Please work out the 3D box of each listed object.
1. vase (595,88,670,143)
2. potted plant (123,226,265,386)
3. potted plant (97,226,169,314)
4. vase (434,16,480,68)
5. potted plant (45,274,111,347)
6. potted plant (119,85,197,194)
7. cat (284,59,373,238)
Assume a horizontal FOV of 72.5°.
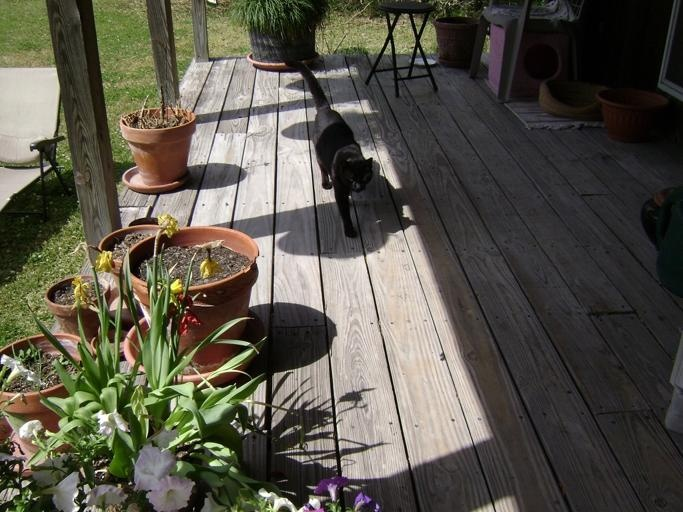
[{"bbox_3d":[2.160,-1.023,3.513,0.401,0.262,0.404,17,25,41],"label":"vase"},{"bbox_3d":[-0.541,0.177,1.748,0.462,0.422,0.498,-1,26,-16],"label":"potted plant"},{"bbox_3d":[-0.704,0.041,1.599,0.228,0.186,0.226,24,40,27],"label":"potted plant"},{"bbox_3d":[1.150,-2.218,4.916,0.461,0.411,0.497,-6,34,-5],"label":"vase"},{"bbox_3d":[-1.036,0.215,1.877,0.232,0.183,0.232,-13,34,-36],"label":"potted plant"},{"bbox_3d":[-1.148,-0.667,2.937,0.433,0.410,0.447,21,32,24],"label":"potted plant"},{"bbox_3d":[-0.199,-0.744,2.706,0.237,0.500,1.277,-13,59,-15],"label":"cat"}]
